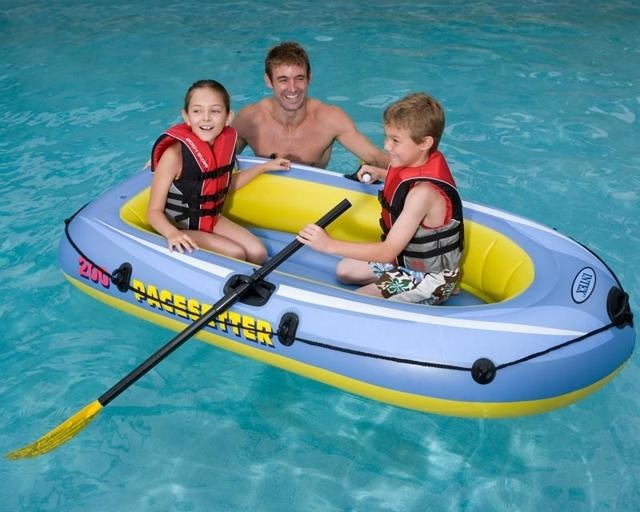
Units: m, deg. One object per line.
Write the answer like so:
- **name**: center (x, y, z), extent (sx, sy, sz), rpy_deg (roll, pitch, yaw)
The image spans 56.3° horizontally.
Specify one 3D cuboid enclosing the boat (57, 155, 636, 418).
- **boat**: center (-0.083, 0.213, 3.248), extent (3.307, 0.438, 1.387), rpy_deg (9, 27, 15)
